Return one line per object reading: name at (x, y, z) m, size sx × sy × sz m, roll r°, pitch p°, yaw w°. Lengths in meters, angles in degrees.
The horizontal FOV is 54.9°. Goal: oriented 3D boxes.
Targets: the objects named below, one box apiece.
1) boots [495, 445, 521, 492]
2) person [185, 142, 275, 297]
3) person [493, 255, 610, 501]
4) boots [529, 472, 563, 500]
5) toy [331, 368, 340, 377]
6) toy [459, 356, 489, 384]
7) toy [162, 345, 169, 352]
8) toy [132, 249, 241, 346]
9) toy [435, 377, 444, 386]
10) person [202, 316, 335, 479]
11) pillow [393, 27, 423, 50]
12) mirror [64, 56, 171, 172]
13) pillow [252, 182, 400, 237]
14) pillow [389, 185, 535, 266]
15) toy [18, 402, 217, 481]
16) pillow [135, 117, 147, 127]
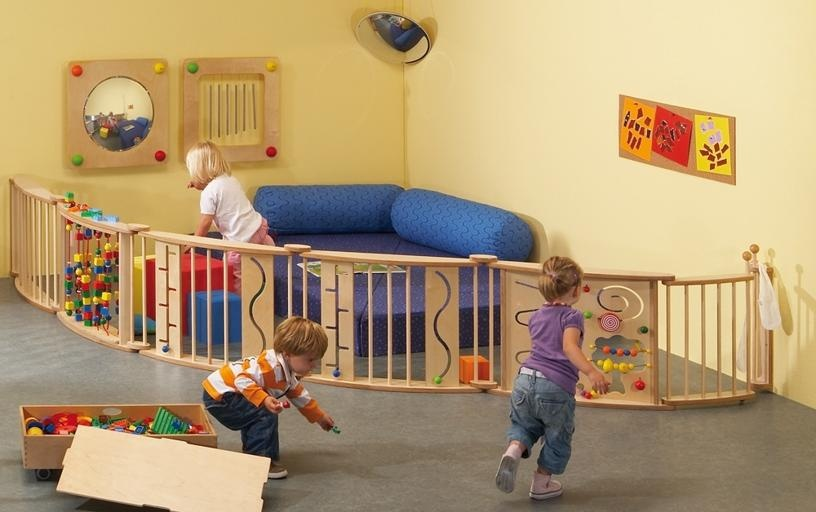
boots at (0.596, 1.257, 4.671) m, size 0.108 × 0.319 × 0.122 m, roll 7°, pitch -15°, yaw 18°
person at (-1.653, -0.233, 7.199) m, size 0.723 × 1.632 × 0.571 m, roll -5°, pitch 27°, yaw -18°
person at (0.887, 0.751, 4.794) m, size 0.643 × 1.471 × 0.613 m, roll 2°, pitch 7°, yaw 7°
boots at (0.851, 1.393, 4.870) m, size 0.244 × 0.175 × 0.109 m, roll -10°, pitch 15°, yaw -36°
toy at (-0.559, 0.934, 6.212) m, size 0.059 × 0.071 × 0.061 m, roll -16°, pitch -25°, yaw 10°
toy at (0.539, 0.894, 6.279) m, size 0.216 × 0.172 × 0.217 m, roll -3°, pitch 9°, yaw -22°
toy at (-2.012, 0.780, 6.556) m, size 0.052 × 0.055 × 0.033 m, roll 23°, pitch -1°, yaw 7°
toy at (-1.986, 0.334, 6.911) m, size 0.835 × 0.868 × 0.831 m, roll 0°, pitch -2°, yaw -10°
toy at (0.249, 0.975, 6.121) m, size 0.074 × 0.067 × 0.023 m, roll -2°, pitch 7°, yaw -31°
person at (-0.859, 0.885, 4.904) m, size 0.797 × 1.041 × 0.324 m, roll 4°, pitch 7°, yaw 26°
pillow at (0.016, -2.242, 8.112) m, size 0.188 × 0.066 × 0.195 m, roll -35°, pitch -24°, yaw 26°
mirror at (-3.290, -1.620, 8.787) m, size 1.230 × 1.311 × 0.187 m, roll -1°, pitch 5°, yaw -24°
pillow at (-0.903, -0.545, 9.414) m, size 1.512 × 0.643 × 0.539 m, roll -1°, pitch 50°, yaw -6°
pillow at (0.610, -0.332, 8.604) m, size 0.591 × 0.640 × 1.800 m, roll 15°, pitch 4°, yaw -41°
toy at (-1.839, 1.164, 5.015) m, size 1.194 × 0.412 × 0.614 m, roll 1°, pitch 6°, yaw -4°
pillow at (-2.994, -1.518, 8.900) m, size 0.123 × 0.088 × 0.090 m, roll 4°, pitch 7°, yaw -29°
